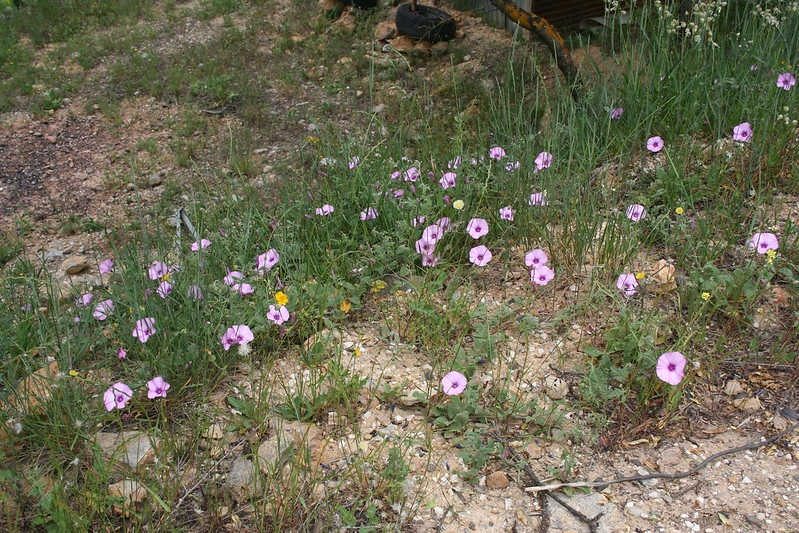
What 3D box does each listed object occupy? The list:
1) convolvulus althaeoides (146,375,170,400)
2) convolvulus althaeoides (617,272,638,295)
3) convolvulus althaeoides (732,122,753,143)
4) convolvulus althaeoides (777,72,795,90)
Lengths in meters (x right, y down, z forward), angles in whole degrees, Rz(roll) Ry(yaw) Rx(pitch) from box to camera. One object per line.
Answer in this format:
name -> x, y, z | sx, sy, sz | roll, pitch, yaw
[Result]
convolvulus althaeoides -> -1.339, 0.671, 3.631 | 0.110, 0.054, 0.120 | -27, 76, -16
convolvulus althaeoides -> 1.362, 0.113, 3.936 | 0.125, 0.123, 0.125 | 3, 46, 22
convolvulus althaeoides -> 2.393, -0.930, 4.580 | 0.124, 0.146, 0.056 | 12, 12, 25
convolvulus althaeoides -> 2.827, -1.338, 4.812 | 0.126, 0.125, 0.128 | 12, 50, 29
